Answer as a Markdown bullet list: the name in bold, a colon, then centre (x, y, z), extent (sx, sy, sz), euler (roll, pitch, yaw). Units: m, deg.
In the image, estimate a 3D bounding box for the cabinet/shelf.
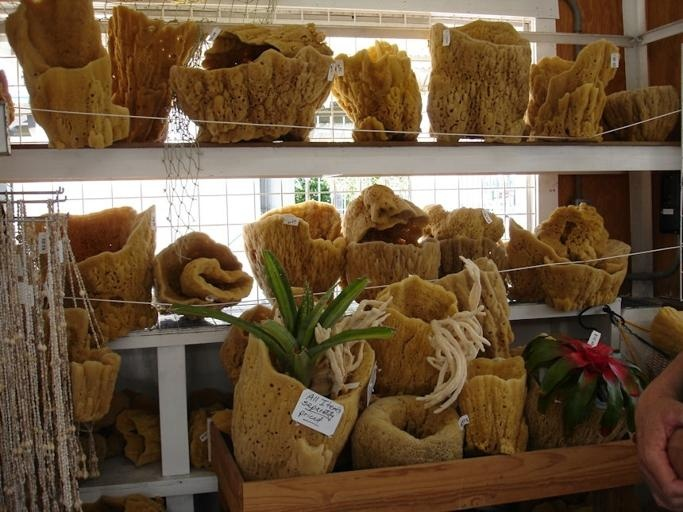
- **cabinet/shelf**: centre (0.169, -0.209, 1.898), extent (2.213, 1.474, 0.792), euler (-6, 3, -23)
